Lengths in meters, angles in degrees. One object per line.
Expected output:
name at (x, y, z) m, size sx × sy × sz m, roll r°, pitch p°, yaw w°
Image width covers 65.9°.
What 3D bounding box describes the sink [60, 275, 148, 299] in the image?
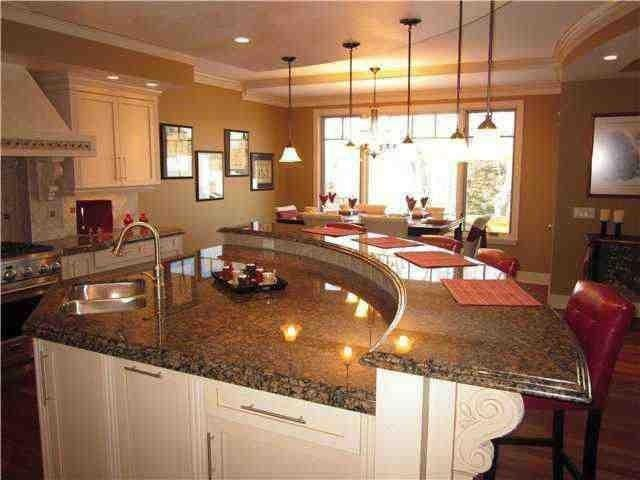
sink at (-1.300, 0.302, 3.036) m, size 0.344 × 0.077 × 0.171 m, roll 0°, pitch 8°, yaw -18°
